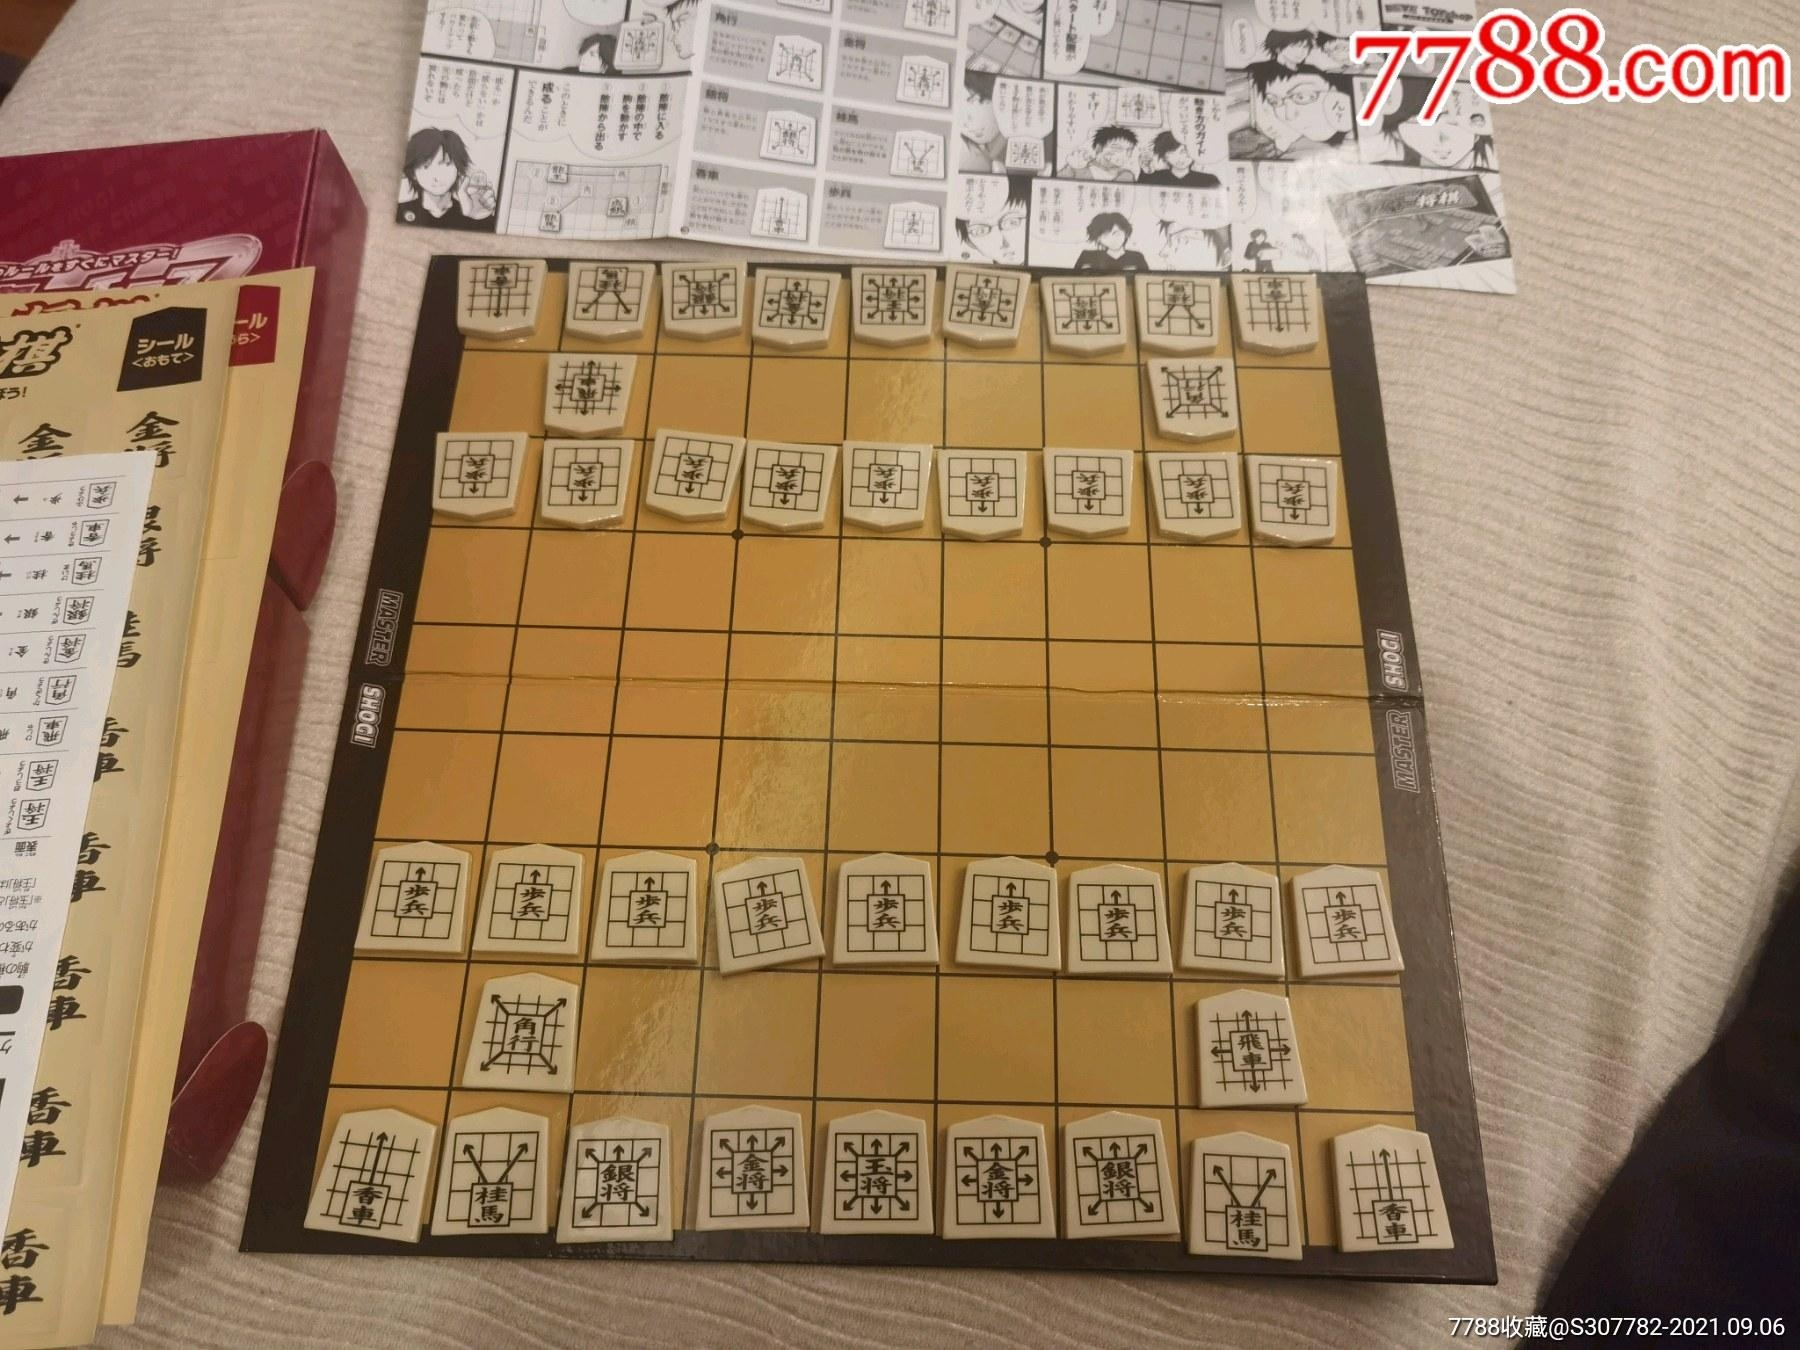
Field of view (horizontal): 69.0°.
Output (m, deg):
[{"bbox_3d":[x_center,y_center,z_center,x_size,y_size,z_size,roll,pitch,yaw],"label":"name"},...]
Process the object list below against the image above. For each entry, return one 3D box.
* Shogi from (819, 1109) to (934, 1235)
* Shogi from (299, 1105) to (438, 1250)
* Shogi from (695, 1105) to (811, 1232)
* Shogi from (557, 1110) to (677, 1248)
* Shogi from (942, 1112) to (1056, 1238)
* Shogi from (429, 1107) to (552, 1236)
[{"bbox_3d":[-0.023,0.460,1.204,0.123,0.014,0.120,1,59,-2],"label":"Shogi"},{"bbox_3d":[-0.483,0.461,1.201,0.103,0.036,0.106,4,71,3],"label":"Shogi"},{"bbox_3d":[-0.138,0.455,1.210,0.108,0.013,0.105,-9,66,17],"label":"Shogi"},{"bbox_3d":[-0.261,0.467,1.204,0.133,0.015,0.130,0,57,-1],"label":"Shogi"},{"bbox_3d":[0.089,0.463,1.202,0.121,0.037,0.075,2,41,2],"label":"Shogi"},{"bbox_3d":[-0.377,0.460,1.204,0.119,0.011,0.119,0,67,0],"label":"Shogi"}]
